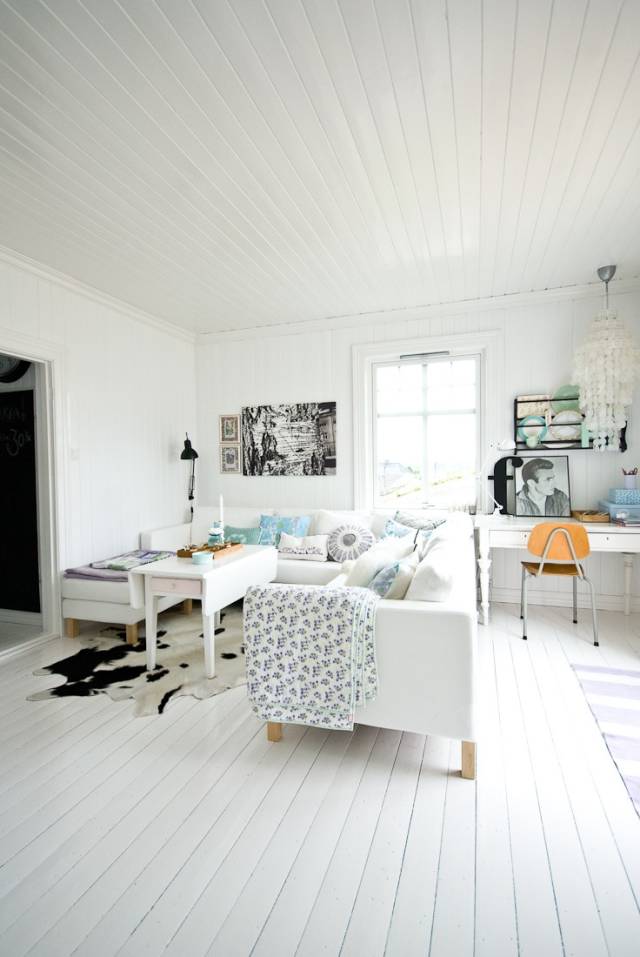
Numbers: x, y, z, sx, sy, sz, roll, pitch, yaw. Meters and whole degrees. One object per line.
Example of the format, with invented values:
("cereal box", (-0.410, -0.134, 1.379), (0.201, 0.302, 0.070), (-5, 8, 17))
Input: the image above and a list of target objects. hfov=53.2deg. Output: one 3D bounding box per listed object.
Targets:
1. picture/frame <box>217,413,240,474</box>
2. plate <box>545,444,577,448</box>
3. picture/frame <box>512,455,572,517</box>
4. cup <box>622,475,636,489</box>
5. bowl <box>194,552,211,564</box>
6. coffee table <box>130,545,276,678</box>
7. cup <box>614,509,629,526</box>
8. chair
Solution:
("picture/frame", (-0.756, -0.294, 5.431), (0.205, 0.492, 0.031), (2, 6, 30))
("plate", (1.652, -0.218, 4.372), (0.215, 0.054, 0.053), (1, 6, 21))
("picture/frame", (1.548, 0.051, 4.400), (0.375, 0.548, 0.037), (-1, -10, 19))
("cup", (1.998, 0.023, 4.139), (0.069, 0.086, 0.080), (0, 3, -25))
("bowl", (-0.626, 0.425, 3.412), (0.061, 0.042, 0.065), (-2, -3, 0))
("coffee table", (-0.606, 0.701, 3.649), (0.367, 0.481, 1.076), (3, 1, 14))
("cup", (1.824, 0.242, 3.851), (0.048, 0.064, 0.107), (0, 6, 9))
("chair", (1.300, 0.570, 3.527), (0.426, 0.735, 0.455), (1, -8, 33))
